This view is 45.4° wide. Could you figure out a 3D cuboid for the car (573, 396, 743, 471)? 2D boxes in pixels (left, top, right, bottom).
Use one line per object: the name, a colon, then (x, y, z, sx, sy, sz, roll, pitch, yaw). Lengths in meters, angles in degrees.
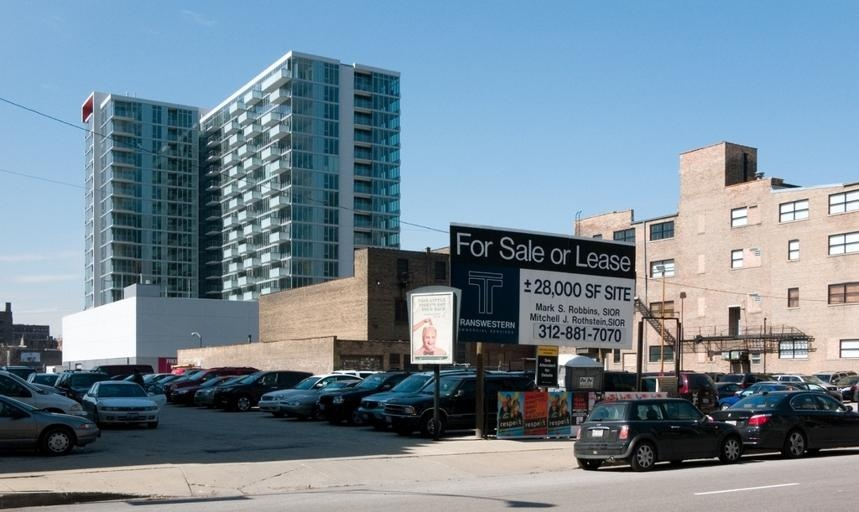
car: (9.985, 7.724, 44.521, 6.369, 3.029, 1.410, 0, -11, -4)
